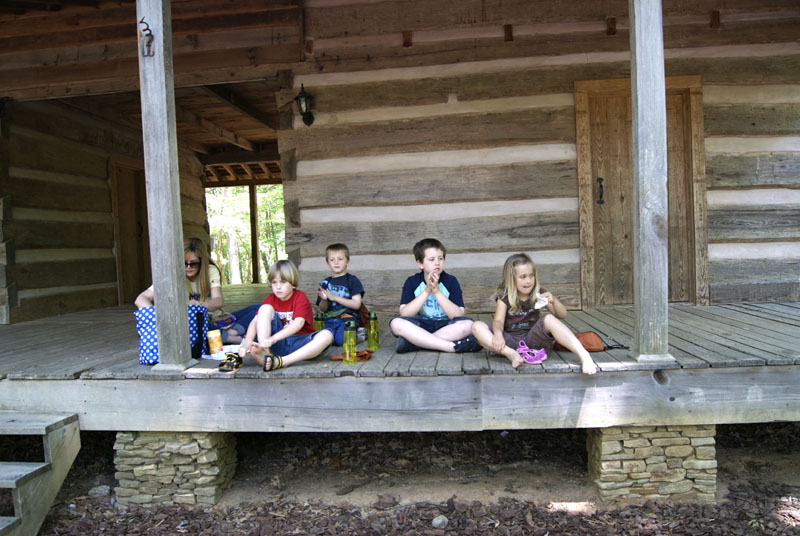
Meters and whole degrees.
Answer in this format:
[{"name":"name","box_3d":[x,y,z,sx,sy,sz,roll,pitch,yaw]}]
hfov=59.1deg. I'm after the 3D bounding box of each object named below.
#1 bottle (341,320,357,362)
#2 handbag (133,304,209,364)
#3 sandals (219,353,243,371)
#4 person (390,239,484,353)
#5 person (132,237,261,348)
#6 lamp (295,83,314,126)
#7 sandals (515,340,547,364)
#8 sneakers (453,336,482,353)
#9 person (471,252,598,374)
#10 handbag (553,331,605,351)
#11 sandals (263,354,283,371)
[{"name":"bottle","box_3d":[-0.443,0.625,6.069,0.132,0.243,0.279,-3,1,-6]},{"name":"handbag","box_3d":[-1.948,0.568,6.043,0.572,0.391,0.282,-2,-19,-4]},{"name":"sandals","box_3d":[-1.421,0.785,5.888,0.189,0.128,0.084,-2,1,-13]},{"name":"person","box_3d":[0.074,0.270,6.564,0.912,0.954,1.052,-3,8,-5]},{"name":"person","box_3d":[-1.926,0.231,6.481,1.227,0.966,0.738,-5,-3,-4]},{"name":"lamp","box_3d":[-1.049,-1.802,7.750,0.210,0.336,0.210,-3,1,-15]},{"name":"sandals","box_3d":[1.080,0.697,5.871,0.219,0.074,0.127,21,33,5]},{"name":"sneakers","box_3d":[0.594,0.661,6.184,0.240,0.118,0.085,-10,17,-5]},{"name":"person","box_3d":[1.067,0.393,5.781,0.929,0.714,1.163,-8,15,-14]},{"name":"handbag","box_3d":[1.532,0.614,6.015,0.369,0.116,0.180,-2,24,-4]},{"name":"sandals","box_3d":[-1.054,0.776,5.804,0.136,0.134,0.349,1,-5,-11]}]
